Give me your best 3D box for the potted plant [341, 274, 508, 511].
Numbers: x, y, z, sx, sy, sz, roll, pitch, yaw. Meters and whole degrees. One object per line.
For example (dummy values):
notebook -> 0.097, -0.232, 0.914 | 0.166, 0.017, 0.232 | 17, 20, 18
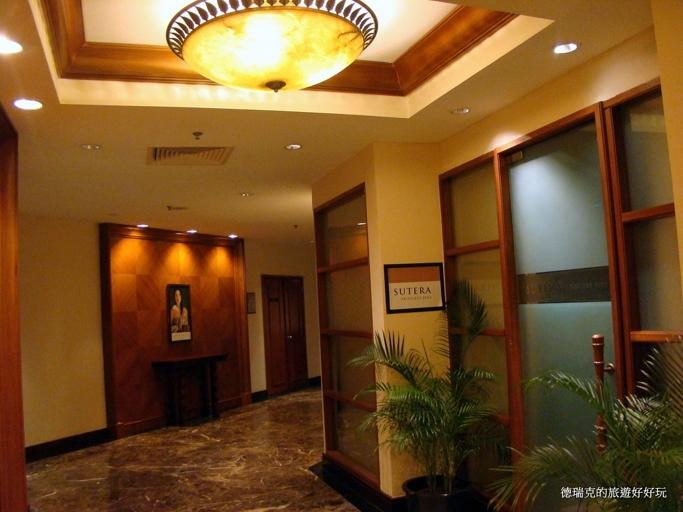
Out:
potted plant -> 0.733, 1.111, 4.369 | 1.114, 1.761, 0.867 | -3, -3, -1

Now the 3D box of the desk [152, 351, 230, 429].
desk -> -2.519, 2.199, 8.547 | 0.364, 0.979, 1.142 | -3, -5, 27

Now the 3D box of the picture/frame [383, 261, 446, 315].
picture/frame -> 0.625, 0.290, 4.760 | 0.456, 0.377, 0.031 | -1, -2, -14
